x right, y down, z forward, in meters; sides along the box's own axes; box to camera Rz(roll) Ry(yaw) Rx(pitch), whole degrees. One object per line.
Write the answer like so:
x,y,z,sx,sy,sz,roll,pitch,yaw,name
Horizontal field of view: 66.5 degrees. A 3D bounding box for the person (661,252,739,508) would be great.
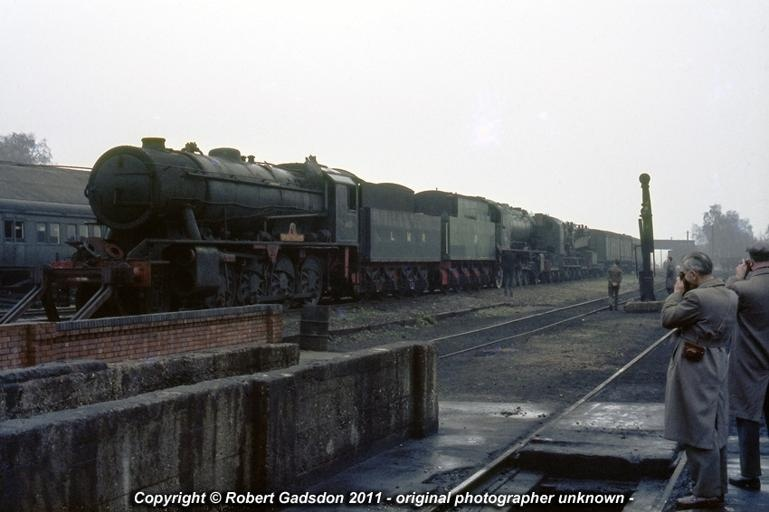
3.241,1.245,6.044,0.713,2.822,0.572,1,0,16,person
